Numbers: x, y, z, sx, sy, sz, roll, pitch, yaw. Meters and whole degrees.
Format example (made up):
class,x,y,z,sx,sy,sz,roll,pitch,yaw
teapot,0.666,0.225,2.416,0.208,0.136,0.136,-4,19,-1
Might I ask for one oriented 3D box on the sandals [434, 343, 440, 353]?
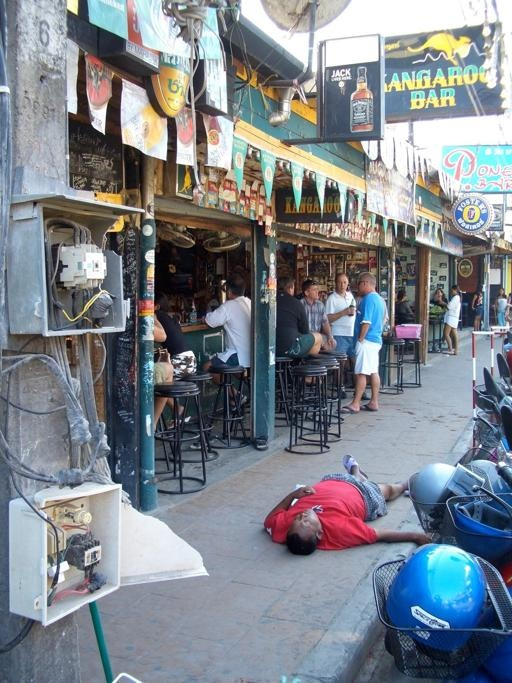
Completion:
class,x,y,z,sx,sy,sz,roll,pitch,yaw
sandals,5.995,0.218,19.031,0.235,0.287,0.249,0,8,20

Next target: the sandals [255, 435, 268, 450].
class,x,y,z,sx,sy,sz,roll,pitch,yaw
sandals,0.078,1.249,7.021,0.163,0.141,0.220,-1,3,-1

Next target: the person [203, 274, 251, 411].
class,x,y,z,sx,sy,sz,roll,pitch,yaw
person,-0.324,-0.247,7.301,0.579,1.191,0.502,-2,3,-11

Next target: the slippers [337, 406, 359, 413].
class,x,y,z,sx,sy,sz,roll,pitch,yaw
slippers,1.493,1.112,9.209,0.276,0.080,0.122,7,-4,-18

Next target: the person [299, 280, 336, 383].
class,x,y,z,sx,sy,sz,roll,pitch,yaw
person,0.818,-0.215,8.374,0.660,1.364,0.714,9,7,20

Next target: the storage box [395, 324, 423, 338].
class,x,y,z,sx,sy,sz,roll,pitch,yaw
storage box,3.327,-0.194,12.529,0.521,0.326,0.625,0,3,10

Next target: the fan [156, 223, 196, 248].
class,x,y,z,sx,sy,sz,roll,pitch,yaw
fan,-1.231,-1.602,8.598,0.492,0.250,0.921,0,3,14

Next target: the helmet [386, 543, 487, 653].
class,x,y,z,sx,sy,sz,roll,pitch,yaw
helmet,0.683,0.920,2.105,0.283,0.315,0.400,9,22,24

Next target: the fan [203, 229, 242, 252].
class,x,y,z,sx,sy,sz,roll,pitch,yaw
fan,-0.583,-1.688,9.918,0.644,0.256,1.030,-2,3,-13

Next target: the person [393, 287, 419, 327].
class,x,y,z,sx,sy,sz,roll,pitch,yaw
person,4.293,-0.997,16.621,0.523,0.996,0.880,0,3,13

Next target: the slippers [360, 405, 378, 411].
class,x,y,z,sx,sy,sz,roll,pitch,yaw
slippers,1.871,1.116,9.485,0.260,0.088,0.100,5,6,15

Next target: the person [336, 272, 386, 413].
class,x,y,z,sx,sy,sz,roll,pitch,yaw
person,1.807,0.018,9.446,0.601,2.256,0.784,0,3,12
